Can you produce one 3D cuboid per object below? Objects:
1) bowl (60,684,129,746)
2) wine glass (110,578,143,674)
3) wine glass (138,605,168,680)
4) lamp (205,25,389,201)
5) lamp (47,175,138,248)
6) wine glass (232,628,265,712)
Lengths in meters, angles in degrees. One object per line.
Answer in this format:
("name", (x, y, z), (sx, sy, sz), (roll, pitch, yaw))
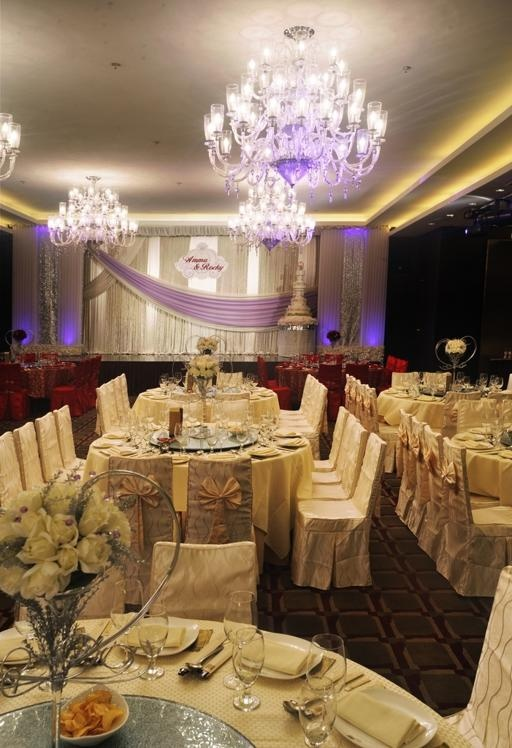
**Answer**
("bowl", (-0.302, 0.640, 0.944), (0.116, 0.077, 0.149), (1, 5, -15))
("wine glass", (-0.316, 0.601, 1.220), (0.073, 0.161, 0.186), (1, 5, -14))
("wine glass", (-0.243, 0.623, 1.170), (0.063, 0.153, 0.099), (1, 5, -13))
("lamp", (0.340, -2.219, 4.513), (1.750, 1.598, 1.827), (-1, 16, -2))
("lamp", (-2.796, -2.745, 8.612), (1.612, 1.298, 1.685), (0, 19, -2))
("wine glass", (-0.020, 0.628, 1.090), (0.058, 0.173, 0.120), (2, 5, -2))
